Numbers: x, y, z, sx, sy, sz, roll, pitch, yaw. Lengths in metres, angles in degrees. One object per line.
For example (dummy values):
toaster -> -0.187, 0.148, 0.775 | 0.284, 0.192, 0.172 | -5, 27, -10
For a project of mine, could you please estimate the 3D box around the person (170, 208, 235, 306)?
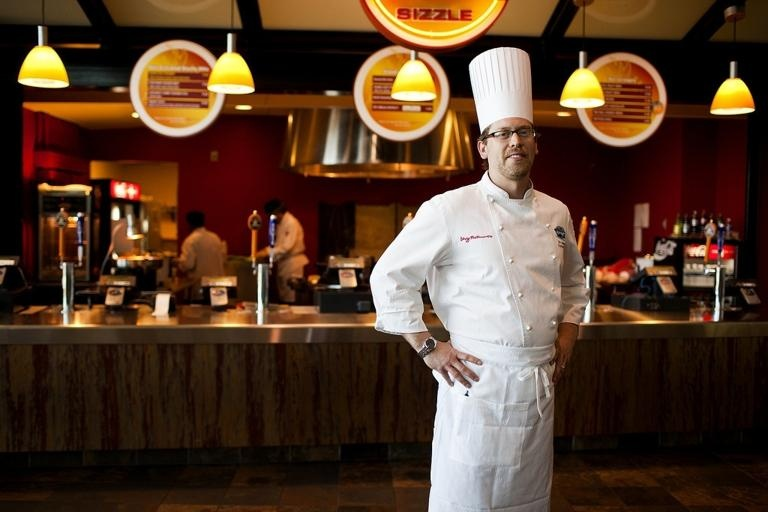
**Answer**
person -> -2.171, 0.024, 8.547 | 0.647, 1.182, 3.050 | 1, -1, -16

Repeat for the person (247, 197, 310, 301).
person -> -1.261, 0.034, 8.697 | 0.690, 1.347, 0.660 | 10, 12, 26

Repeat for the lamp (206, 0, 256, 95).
lamp -> -1.236, -1.699, 5.825 | 0.339, 0.826, 0.798 | 1, -1, -14

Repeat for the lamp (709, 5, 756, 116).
lamp -> 3.060, -1.721, 6.345 | 0.315, 1.060, 0.977 | 1, -1, 25

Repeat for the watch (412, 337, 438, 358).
watch -> 0.220, 0.485, 3.871 | 0.119, 0.085, 0.046 | -38, -4, -2

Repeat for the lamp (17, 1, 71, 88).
lamp -> -2.731, -1.635, 5.810 | 0.341, 0.605, 0.854 | 1, -1, -25

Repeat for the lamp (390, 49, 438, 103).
lamp -> 0.243, -1.504, 5.973 | 0.371, 0.419, 0.419 | 1, -1, 2
